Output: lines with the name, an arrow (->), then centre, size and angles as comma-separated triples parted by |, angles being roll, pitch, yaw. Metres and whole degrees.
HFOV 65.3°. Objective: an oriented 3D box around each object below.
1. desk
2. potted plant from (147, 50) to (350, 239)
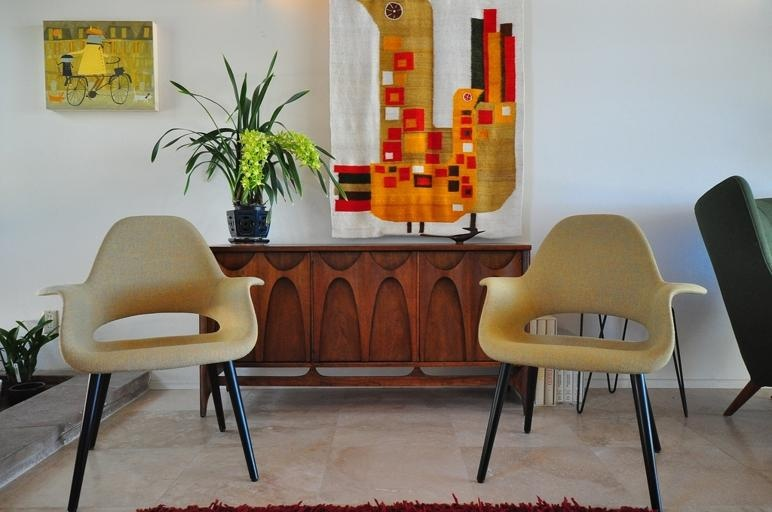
desk -> -0.114, 0.409, 3.568 | 1.848, 0.888, 0.384 | 0, -5, -1
potted plant -> -0.851, -0.666, 3.860 | 1.147, 1.152, 1.213 | 1, 7, 0
